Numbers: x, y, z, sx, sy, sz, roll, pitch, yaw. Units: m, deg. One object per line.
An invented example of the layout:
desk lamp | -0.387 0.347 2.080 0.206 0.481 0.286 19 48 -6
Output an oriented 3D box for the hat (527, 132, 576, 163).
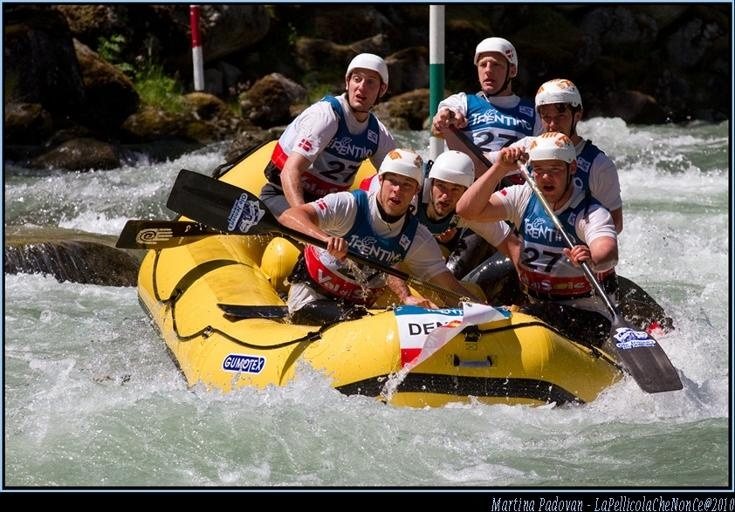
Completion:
hat | 1.528 -0.879 7.833 0.316 0.245 0.239 22 -15 -35

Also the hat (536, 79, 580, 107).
hat | 1.678 -1.426 8.267 0.391 0.243 0.252 1 11 4

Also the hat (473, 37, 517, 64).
hat | 1.250 -1.945 8.919 0.268 0.211 0.380 17 19 14

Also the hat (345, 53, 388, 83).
hat | 0.027 -1.725 8.662 0.348 0.262 0.537 5 12 24

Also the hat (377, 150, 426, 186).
hat | 0.304 -0.742 7.800 0.251 0.260 0.335 16 -28 3

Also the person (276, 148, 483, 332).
person | 0.070 -0.123 7.964 1.041 1.371 0.707 21 20 -29
